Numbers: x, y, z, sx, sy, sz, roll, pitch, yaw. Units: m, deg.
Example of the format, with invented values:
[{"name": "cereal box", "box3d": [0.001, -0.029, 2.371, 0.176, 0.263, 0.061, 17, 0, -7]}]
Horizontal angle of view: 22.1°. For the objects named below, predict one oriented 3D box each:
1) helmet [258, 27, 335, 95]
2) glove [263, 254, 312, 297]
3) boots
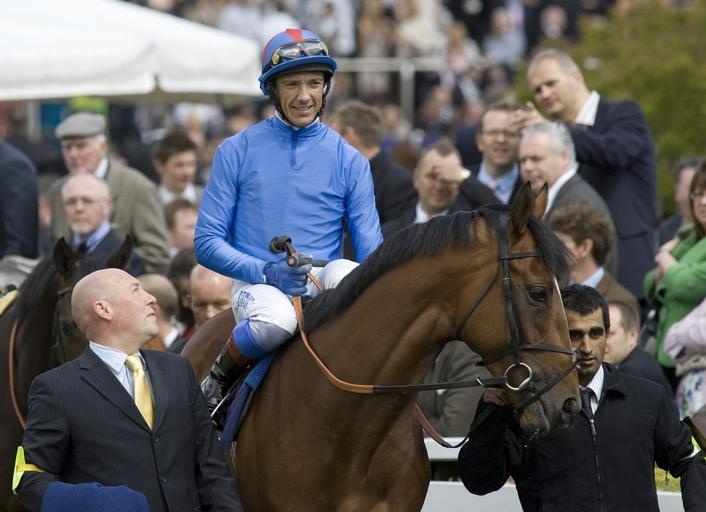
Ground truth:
[{"name": "helmet", "box3d": [-0.391, -1.305, 11.964, 0.362, 0.348, 0.414, 0, -2, -7]}, {"name": "glove", "box3d": [-0.404, 0.119, 11.714, 0.302, 0.240, 0.289, 2, 12, 12]}, {"name": "boots", "box3d": [-0.876, 0.815, 12.003, 0.370, 0.626, 0.455, -4, 11, -11]}]
